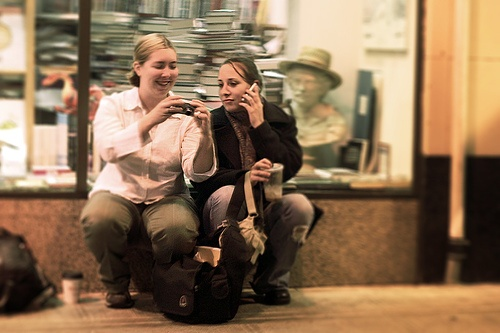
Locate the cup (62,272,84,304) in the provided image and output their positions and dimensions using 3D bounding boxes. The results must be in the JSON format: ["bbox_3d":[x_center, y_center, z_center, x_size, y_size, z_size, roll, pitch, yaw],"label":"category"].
[{"bbox_3d":[-1.662,1.113,4.392,0.166,0.298,0.141,-1,11,-21],"label":"cup"}]

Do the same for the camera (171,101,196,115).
[{"bbox_3d":[-0.572,-0.505,4.087,0.192,0.110,0.081,1,10,-13],"label":"camera"}]

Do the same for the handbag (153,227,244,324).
[{"bbox_3d":[-0.424,0.993,4.272,0.926,0.798,0.651,4,-4,-6],"label":"handbag"}]

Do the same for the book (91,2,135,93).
[{"bbox_3d":[-1.467,-1.271,5.112,0.660,0.809,0.287,3,3,-9],"label":"book"}]

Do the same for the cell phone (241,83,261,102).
[{"bbox_3d":[0.002,-0.721,4.405,0.065,0.283,0.081,27,-19,37],"label":"cell phone"}]

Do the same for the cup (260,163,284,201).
[{"bbox_3d":[0.205,0.157,4.227,0.175,0.376,0.217,3,10,3],"label":"cup"}]
